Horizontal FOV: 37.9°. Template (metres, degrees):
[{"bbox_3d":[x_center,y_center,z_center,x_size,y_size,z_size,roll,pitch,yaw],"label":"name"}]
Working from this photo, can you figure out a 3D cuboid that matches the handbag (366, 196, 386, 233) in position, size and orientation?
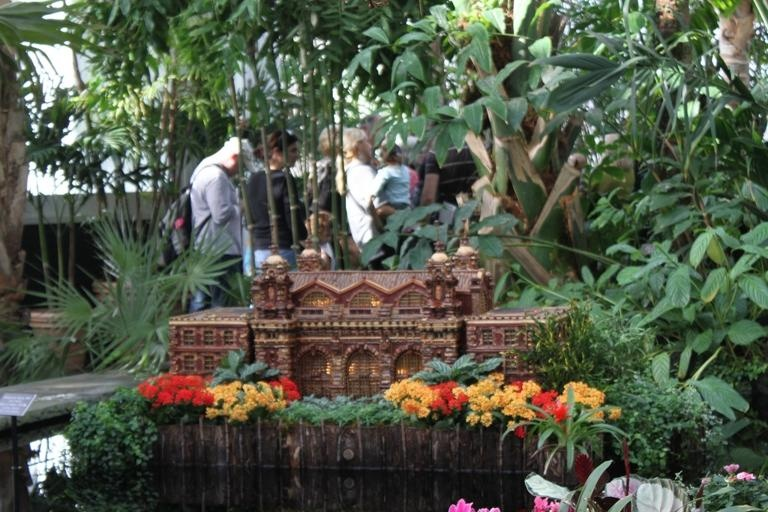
[{"bbox_3d":[-0.101,-0.487,12.872,0.128,0.160,0.482,36,7,13],"label":"handbag"}]

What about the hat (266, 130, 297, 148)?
[{"bbox_3d":[-1.172,-1.359,12.802,0.329,0.242,0.784,0,-1,-6],"label":"hat"}]

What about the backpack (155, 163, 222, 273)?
[{"bbox_3d":[-2.426,-0.491,13.680,0.441,1.035,0.426,13,11,18],"label":"backpack"}]
